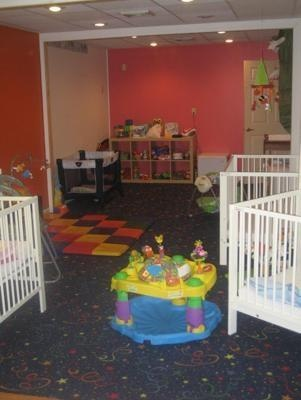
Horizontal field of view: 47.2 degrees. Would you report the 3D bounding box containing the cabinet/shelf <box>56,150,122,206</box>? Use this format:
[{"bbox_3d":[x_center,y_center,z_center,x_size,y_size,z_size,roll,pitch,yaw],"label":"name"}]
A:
[{"bbox_3d":[-0.997,-0.389,5.769,0.747,0.722,1.207,0,13,7],"label":"cabinet/shelf"}]

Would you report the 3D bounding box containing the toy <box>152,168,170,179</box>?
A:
[{"bbox_3d":[0.230,-0.552,7.266,0.396,0.242,0.430,-2,5,3],"label":"toy"}]

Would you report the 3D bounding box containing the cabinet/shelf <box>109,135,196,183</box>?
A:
[{"bbox_3d":[0.081,-0.848,7.089,1.159,0.626,0.334,4,29,10],"label":"cabinet/shelf"}]

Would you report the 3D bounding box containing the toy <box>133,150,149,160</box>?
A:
[{"bbox_3d":[-0.196,-0.974,7.376,0.326,0.293,0.186,0,13,4],"label":"toy"}]

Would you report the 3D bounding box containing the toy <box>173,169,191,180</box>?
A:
[{"bbox_3d":[0.647,-0.523,7.167,0.347,0.193,0.405,-2,5,4],"label":"toy"}]

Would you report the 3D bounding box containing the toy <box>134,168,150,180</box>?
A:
[{"bbox_3d":[-0.211,-0.535,7.362,0.269,0.064,0.246,3,32,0],"label":"toy"}]

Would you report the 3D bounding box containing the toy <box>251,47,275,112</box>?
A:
[{"bbox_3d":[1.631,-1.742,5.015,0.319,0.710,0.305,-9,17,-13],"label":"toy"}]

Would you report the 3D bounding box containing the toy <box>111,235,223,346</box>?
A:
[{"bbox_3d":[0.124,0.624,2.212,0.647,0.462,0.652,15,26,39],"label":"toy"}]

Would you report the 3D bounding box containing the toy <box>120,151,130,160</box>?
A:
[{"bbox_3d":[-0.553,-0.966,7.411,0.197,0.184,0.085,-2,-15,-9],"label":"toy"}]

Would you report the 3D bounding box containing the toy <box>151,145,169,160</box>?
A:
[{"bbox_3d":[0.202,-1.008,7.239,0.367,0.304,0.250,-2,5,4],"label":"toy"}]
